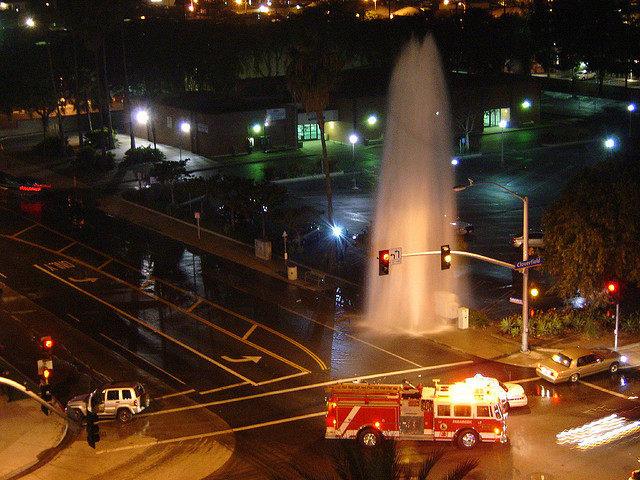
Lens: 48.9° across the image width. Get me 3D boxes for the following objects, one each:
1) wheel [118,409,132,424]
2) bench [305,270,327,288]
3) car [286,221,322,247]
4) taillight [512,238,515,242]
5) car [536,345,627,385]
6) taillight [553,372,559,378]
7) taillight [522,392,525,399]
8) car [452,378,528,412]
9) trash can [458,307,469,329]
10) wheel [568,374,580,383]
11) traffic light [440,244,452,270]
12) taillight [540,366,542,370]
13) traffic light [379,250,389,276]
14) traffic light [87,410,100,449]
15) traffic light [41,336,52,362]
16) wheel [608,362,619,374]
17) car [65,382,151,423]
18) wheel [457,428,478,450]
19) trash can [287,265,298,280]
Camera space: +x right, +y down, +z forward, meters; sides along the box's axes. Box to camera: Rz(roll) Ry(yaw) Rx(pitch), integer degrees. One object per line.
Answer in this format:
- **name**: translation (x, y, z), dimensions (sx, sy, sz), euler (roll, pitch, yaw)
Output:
- **wheel**: translation (-11.056, 10.008, 40.116), dimensions (0.636, 0.684, 0.236), euler (10, 7, 14)
- **bench**: translation (-0.211, 3.140, 57.219), dimensions (0.930, 1.055, 2.030), euler (-7, 11, -39)
- **car**: translation (-1.631, -0.526, 66.091), dimensions (2.667, 1.209, 2.198), euler (2, 11, 36)
- **taillight**: translation (17.039, -0.010, 62.094), dimensions (0.055, 0.350, 0.351), euler (-3, 9, -19)
- **car**: translation (15.815, 7.632, 43.070), dimensions (5.008, 1.740, 1.281), euler (-3, 9, -19)
- **taillight**: translation (14.021, 8.013, 41.892), dimensions (0.319, 0.294, 0.108), euler (3, 9, 19)
- **taillight**: translation (11.437, 8.753, 39.626), dimensions (0.109, 0.271, 0.262), euler (2, 9, 16)
- **car**: translation (9.673, 8.496, 39.651), dimensions (4.339, 1.492, 2.034), euler (-1, 8, 14)
- **trash can**: translation (10.016, 5.458, 49.018), dimensions (0.780, 1.426, 0.458), euler (-1, 8, -3)
- **wheel**: translation (15.207, 8.277, 42.297), dimensions (0.570, 0.601, 0.204), euler (-3, 12, -32)
- **traffic light**: translation (7.942, 1.089, 44.619), dimensions (0.532, 1.566, 1.248), euler (1, 9, 9)
- **taillight**: translation (13.377, 7.749, 42.715), dimensions (0.057, 0.228, 0.238), euler (4, 5, -7)
- **traffic light**: translation (3.960, 1.385, 43.810), dimensions (0.539, 1.503, 0.295), euler (-1, 9, -4)
- **traffic light**: translation (-11.239, 9.439, 34.952), dimensions (0.489, 1.956, 0.746), euler (-4, 9, -21)
- **traffic light**: translation (-16.034, 6.403, 41.491), dimensions (0.586, 1.395, 1.705), euler (-4, 9, -23)
- **wheel**: translation (17.986, 7.833, 43.370), dimensions (0.703, 0.741, 0.248), euler (-2, 7, -32)
- **car**: translation (-12.066, 9.208, 40.433), dimensions (3.534, 1.616, 2.364), euler (4, 7, 2)
- **wheel**: translation (7.660, 10.266, 36.555), dimensions (1.008, 1.082, 0.368), euler (-2, 3, 0)
- **trash can**: translation (-2.289, 2.617, 58.018), dimensions (0.926, 1.101, 0.933), euler (-6, 16, -23)
